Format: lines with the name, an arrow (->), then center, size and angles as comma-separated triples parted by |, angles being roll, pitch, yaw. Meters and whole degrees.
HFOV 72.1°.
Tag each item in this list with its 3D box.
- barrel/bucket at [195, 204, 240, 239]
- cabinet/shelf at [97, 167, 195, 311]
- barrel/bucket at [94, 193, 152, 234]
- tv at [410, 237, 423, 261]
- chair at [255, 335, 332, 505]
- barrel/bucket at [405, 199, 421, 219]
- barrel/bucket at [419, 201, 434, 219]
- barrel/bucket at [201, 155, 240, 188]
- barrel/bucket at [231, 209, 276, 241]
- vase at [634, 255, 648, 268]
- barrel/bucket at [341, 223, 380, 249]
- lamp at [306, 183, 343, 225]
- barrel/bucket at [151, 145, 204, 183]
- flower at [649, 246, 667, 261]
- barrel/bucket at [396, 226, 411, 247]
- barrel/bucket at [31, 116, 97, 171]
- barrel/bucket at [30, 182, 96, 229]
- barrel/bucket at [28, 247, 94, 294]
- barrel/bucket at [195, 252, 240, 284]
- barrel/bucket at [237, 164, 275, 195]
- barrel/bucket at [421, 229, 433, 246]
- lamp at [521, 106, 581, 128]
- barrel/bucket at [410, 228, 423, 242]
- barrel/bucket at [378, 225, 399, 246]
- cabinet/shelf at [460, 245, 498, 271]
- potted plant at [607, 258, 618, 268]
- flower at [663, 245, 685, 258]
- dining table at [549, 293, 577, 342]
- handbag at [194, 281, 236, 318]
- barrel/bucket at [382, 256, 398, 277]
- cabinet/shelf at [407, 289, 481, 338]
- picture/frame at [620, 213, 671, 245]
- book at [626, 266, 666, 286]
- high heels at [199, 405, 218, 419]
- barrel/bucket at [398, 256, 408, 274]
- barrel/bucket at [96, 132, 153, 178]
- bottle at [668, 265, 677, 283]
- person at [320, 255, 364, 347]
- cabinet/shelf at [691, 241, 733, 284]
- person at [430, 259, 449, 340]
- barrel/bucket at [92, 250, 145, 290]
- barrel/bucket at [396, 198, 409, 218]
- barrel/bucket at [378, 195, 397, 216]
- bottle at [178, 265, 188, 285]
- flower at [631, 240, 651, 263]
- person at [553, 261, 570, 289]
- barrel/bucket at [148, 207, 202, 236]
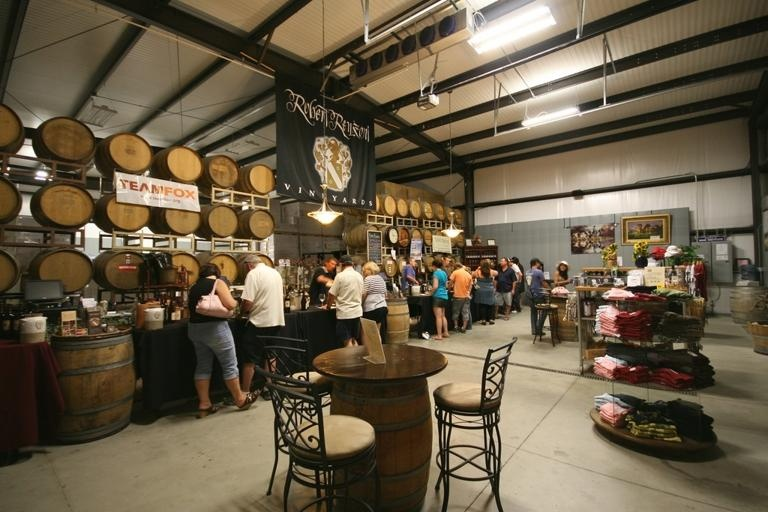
barrel/bucket -> -2.954, -0.592, 9.445 | 0.589, 0.581, 0.595 | 9, -1, 0
cabinet/shelf -> -3.858, -0.271, 9.203 | 2.004, 2.343, 1.806 | 1, 1, 9
barrel/bucket -> -4.196, -0.704, 8.519 | 0.654, 0.657, 0.616 | 18, 1, 0
tv -> 0.844, -0.189, 13.744 | 0.499, 0.666, 0.065 | 16, -21, -32
chair -> -1.221, 2.062, 7.497 | 1.076, 2.167, 1.130 | -4, 19, -6
barrel/bucket -> 0.839, -1.287, 14.406 | 0.448, 0.450, 0.453 | -4, -14, -1
barrel/bucket -> 1.258, -1.277, 14.949 | 0.168, 0.481, 0.564 | -2, -1, 28
barrel/bucket -> -2.867, -1.516, 9.442 | 0.601, 0.595, 0.614 | 11, 5, -1
barrel/bucket -> -2.461, -0.559, 10.080 | 0.598, 0.625, 0.830 | 18, -8, -39
vase -> 4.228, 0.097, 8.646 | 0.209, 0.249, 0.213 | -1, -6, 28
barrel/bucket -> -0.554, -0.472, 12.940 | 0.447, 0.552, 0.931 | -2, -1, -40
lamp -> -1.174, -1.001, 10.125 | 0.468, 0.635, 2.068 | -2, -1, -8
barrel/bucket -> -3.550, -1.486, 9.246 | 0.658, 0.697, 0.903 | 13, -7, -42
flower -> 5.065, -0.057, 9.697 | 0.315, 0.165, 0.316 | -9, -2, -14
barrel/bucket -> 0.530, -0.491, 13.683 | 0.435, 0.452, 0.432 | 0, -3, 0
barrel/bucket -> -4.892, -1.770, 8.145 | 0.824, 0.821, 0.775 | 13, -2, 1
barrel/bucket -> -5.044, -0.715, 8.243 | 0.686, 0.752, 0.758 | 7, -1, 45
barrel/bucket -> -5.084, 0.243, 8.292 | 0.756, 0.720, 0.706 | 8, -2, 0
barrel/bucket -> -2.996, 0.179, 9.436 | 0.590, 0.663, 0.834 | 4, 3, -36
barrel/bucket -> -2.368, -1.460, 10.035 | 0.603, 0.606, 0.618 | -6, 4, 0
barrel/bucket -> 1.200, -0.514, 14.368 | 0.372, 0.362, 0.380 | -2, -1, 0
lamp -> 3.763, -3.174, 11.941 | 1.030, 0.209, 0.109 | 0, -45, 51
barrel/bucket -> 0.885, -0.567, 13.998 | 0.303, 0.292, 0.301 | 2, -5, 0
barrel/bucket -> 0.120, -0.493, 13.230 | 0.457, 0.443, 0.460 | -16, -4, -1
cabinet/shelf -> 2.736, 0.053, 14.908 | 0.724, 0.691, 0.257 | 0, -5, 6
potted plant -> 4.046, 0.133, 9.302 | 0.131, 0.102, 0.133 | -1, -1, 18
flower -> 5.381, -0.086, 9.754 | 0.258, 0.110, 0.257 | -5, -10, 4
dining table -> 3.582, 1.326, 10.911 | 0.590, 0.888, 0.591 | -10, -7, -15
handbag -> -2.501, 0.642, 7.737 | 0.512, 0.549, 0.186 | 6, -14, -26
barrel/bucket -> 0.225, 0.250, 12.947 | 0.425, 0.414, 0.440 | -8, -7, -1
cabinet/shelf -> 1.080, 1.227, 11.833 | 1.692, 0.995, 0.968 | 7, 1, -26
picture/frame -> 6.563, -0.670, 13.133 | 0.907, 0.709, 0.066 | -1, -3, 43
book -> 3.969, 0.278, 7.961 | 0.314, 0.156, 0.419 | -1, 3, -19
high heels -> -2.599, 2.305, 7.827 | 0.134, 0.109, 0.276 | 1, 1, 22
barrel/bucket -> 0.566, 0.187, 13.201 | 0.322, 0.313, 0.326 | 6, -8, 1
barrel/bucket -> -4.178, -1.639, 8.585 | 0.720, 0.755, 0.763 | -4, 15, 1
bottle -> 4.433, 0.285, 8.090 | 0.130, 0.251, 0.323 | -2, -1, 28
person -> -0.683, 0.968, 9.162 | 0.602, 1.870, 0.666 | -8, -9, 44
cabinet/shelf -> 7.829, 0.176, 12.499 | 0.711, 1.317, 0.945 | 4, -5, -41
person -> 1.203, 0.907, 11.353 | 0.343, 1.582, 0.681 | -2, -1, 5
barrel/bucket -> -4.232, 0.224, 8.658 | 0.716, 0.675, 0.678 | 1, 10, 0
barrel/bucket -> 0.496, -1.263, 13.934 | 0.425, 0.427, 0.430 | 3, -5, 0
barrel/bucket -> 0.161, -1.281, 13.443 | 0.483, 0.492, 0.490 | 8, 0, 0
bottle -> -3.237, 0.312, 8.508 | 0.118, 0.232, 0.130 | -2, -1, 0
flower -> 4.789, -0.103, 9.797 | 0.234, 0.525, 0.389 | 9, 2, 18
person -> 3.860, 0.389, 11.398 | 0.266, 0.554, 1.039 | -2, -1, 21
barrel/bucket -> -3.502, -0.584, 9.030 | 0.713, 0.550, 0.518 | 10, -18, 40
